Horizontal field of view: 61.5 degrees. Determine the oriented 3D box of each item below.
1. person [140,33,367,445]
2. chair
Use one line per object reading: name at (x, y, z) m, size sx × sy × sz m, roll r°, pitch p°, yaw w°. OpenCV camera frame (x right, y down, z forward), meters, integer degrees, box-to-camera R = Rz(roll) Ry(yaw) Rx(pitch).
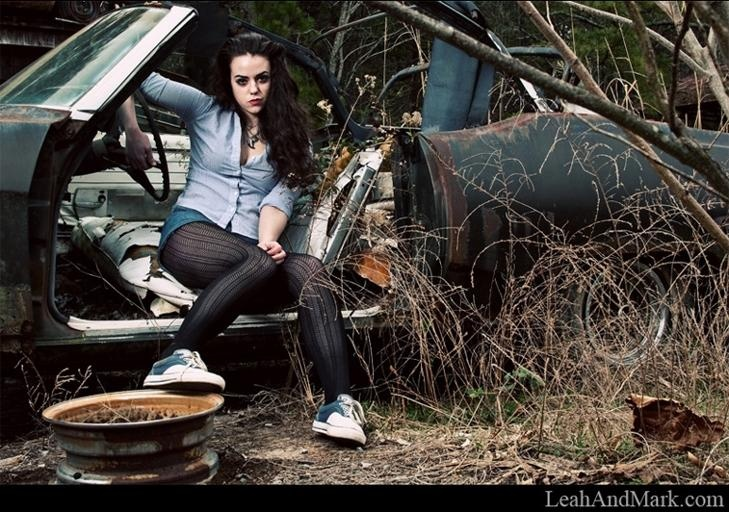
person at (-0.503, -0.145, 2.673) m, size 0.782 × 1.731 × 0.862 m, roll -2°, pitch 8°, yaw -24°
chair at (-0.689, -0.194, 2.990) m, size 1.191 × 0.551 × 0.852 m, roll 17°, pitch 6°, yaw -17°
